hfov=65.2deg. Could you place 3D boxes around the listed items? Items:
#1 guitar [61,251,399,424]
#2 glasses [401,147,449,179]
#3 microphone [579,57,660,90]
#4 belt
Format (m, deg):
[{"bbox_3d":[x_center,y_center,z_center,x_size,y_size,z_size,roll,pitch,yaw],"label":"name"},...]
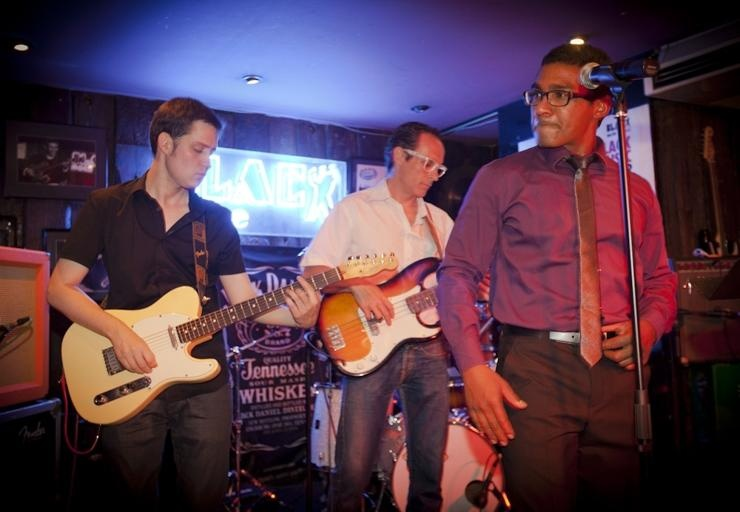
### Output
[{"bbox_3d":[-0.942,0.559,3.876,1.736,0.611,0.226,-23,-14,-21],"label":"guitar"},{"bbox_3d":[0.388,-0.692,4.226,0.231,0.070,0.231,44,17,23],"label":"glasses"},{"bbox_3d":[1.180,-0.857,2.775,0.135,0.133,0.329,9,3,-34],"label":"microphone"},{"bbox_3d":[0.928,0.385,2.842,0.536,0.098,0.104,-1,0,12],"label":"belt"}]
